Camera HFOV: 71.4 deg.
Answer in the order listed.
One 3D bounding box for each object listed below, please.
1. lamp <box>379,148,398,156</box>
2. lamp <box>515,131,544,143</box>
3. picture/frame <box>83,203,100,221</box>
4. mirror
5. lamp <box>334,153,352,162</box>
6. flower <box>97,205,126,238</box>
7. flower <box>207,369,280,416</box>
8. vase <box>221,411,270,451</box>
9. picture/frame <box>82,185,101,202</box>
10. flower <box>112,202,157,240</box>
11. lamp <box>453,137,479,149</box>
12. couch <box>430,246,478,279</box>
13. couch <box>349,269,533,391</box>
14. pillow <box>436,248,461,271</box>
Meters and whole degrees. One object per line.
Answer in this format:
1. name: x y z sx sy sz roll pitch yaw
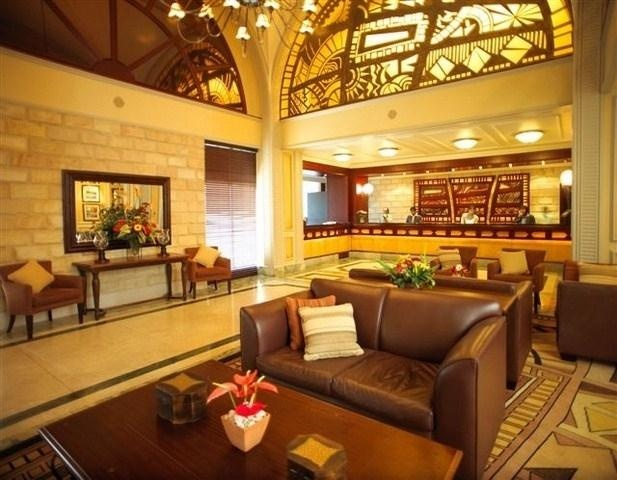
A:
1. lamp: 1.873 -2.069 10.040 0.416 0.197 0.625 4 13 22
2. lamp: 4.308 -2.028 8.405 0.372 0.148 0.369 -1 1 -42
3. picture/frame: -3.397 -0.434 6.696 0.020 0.281 0.261 6 6 37
4. mirror: -3.145 -0.449 6.858 0.058 1.109 1.362 4 6 43
5. lamp: 0.837 -2.038 10.537 0.420 0.213 0.616 -1 12 -4
6. flower: -3.053 -0.283 6.858 0.270 0.470 0.455 0 23 5
7. flower: -0.476 1.068 3.040 0.378 0.335 0.520 4 -4 -13
8. vase: -0.423 1.248 2.922 0.241 0.213 0.290 -2 -4 35
9. picture/frame: -3.396 -0.728 6.681 0.258 0.262 0.026 -3 6 -44
10. flower: -2.870 -0.302 7.035 0.560 0.565 0.626 0 4 -33
11. lamp: 3.267 -2.027 8.960 0.318 0.117 0.322 1 3 43
12. couch: 2.511 0.346 7.373 0.738 0.752 0.563 -1 -3 21
13. couch: 1.824 0.678 4.650 1.955 0.920 1.092 1 1 37
14. pillow: 2.420 0.348 7.378 0.384 0.297 0.695 3 12 18
